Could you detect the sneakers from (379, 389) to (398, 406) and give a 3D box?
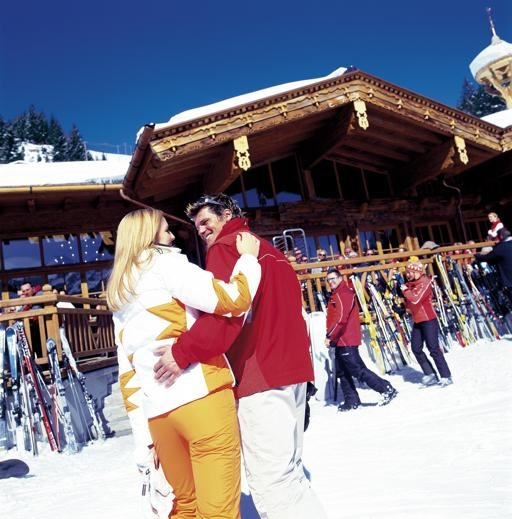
[{"bbox_3d":[1.723,1.768,5.330,0.234,0.236,0.359,-8,-7,13],"label":"sneakers"}]

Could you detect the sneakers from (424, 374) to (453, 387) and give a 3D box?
[{"bbox_3d":[2.544,1.719,5.778,0.446,0.171,0.143,-6,0,7],"label":"sneakers"}]

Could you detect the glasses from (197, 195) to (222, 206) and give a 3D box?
[{"bbox_3d":[-0.245,-0.318,2.208,0.102,0.031,0.098,2,5,10],"label":"glasses"}]
